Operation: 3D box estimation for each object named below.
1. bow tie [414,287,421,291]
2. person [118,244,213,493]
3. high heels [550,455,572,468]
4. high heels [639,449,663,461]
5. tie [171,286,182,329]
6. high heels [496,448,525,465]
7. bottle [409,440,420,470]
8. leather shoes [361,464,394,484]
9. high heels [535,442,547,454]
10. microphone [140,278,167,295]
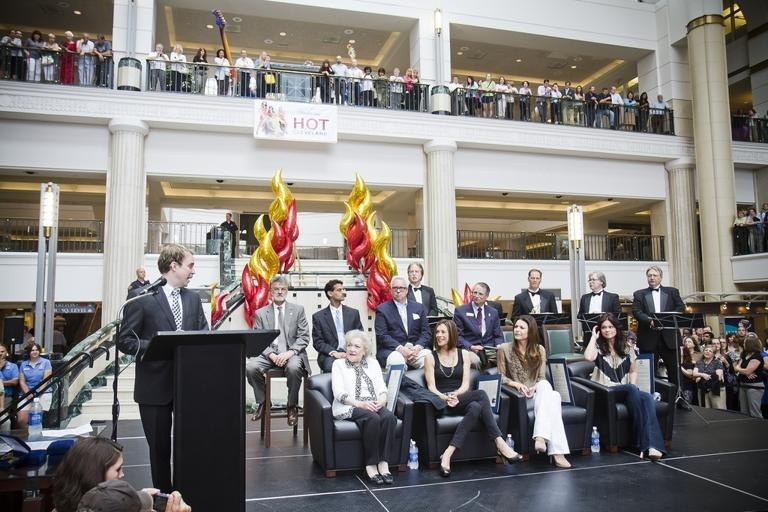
[{"bbox_3d":[0.628,0.663,12.698,0.084,0.067,0.015,0,7,-16],"label":"bow tie"},{"bbox_3d":[-2.605,1.323,7.494,0.964,2.907,0.475,0,-4,-24],"label":"person"},{"bbox_3d":[2.456,2.853,8.942,0.282,0.176,0.168,-2,-4,14],"label":"high heels"},{"bbox_3d":[3.765,2.841,9.148,0.342,0.162,0.139,-4,-2,-12],"label":"high heels"},{"bbox_3d":[-2.487,0.637,7.623,0.081,0.622,0.070,0,-20,-20],"label":"tie"},{"bbox_3d":[1.789,2.828,8.997,0.440,0.233,0.156,-4,-7,10],"label":"high heels"},{"bbox_3d":[0.428,2.790,9.001,0.142,0.368,0.280,-3,-4,32],"label":"bottle"},{"bbox_3d":[-0.079,2.919,8.566,0.195,0.132,0.349,3,-7,-18],"label":"leather shoes"},{"bbox_3d":[2.177,2.675,8.966,0.120,0.199,0.196,-3,2,18],"label":"high heels"},{"bbox_3d":[-3.125,0.409,8.591,0.395,0.122,0.131,-34,-37,4],"label":"microphone"}]
